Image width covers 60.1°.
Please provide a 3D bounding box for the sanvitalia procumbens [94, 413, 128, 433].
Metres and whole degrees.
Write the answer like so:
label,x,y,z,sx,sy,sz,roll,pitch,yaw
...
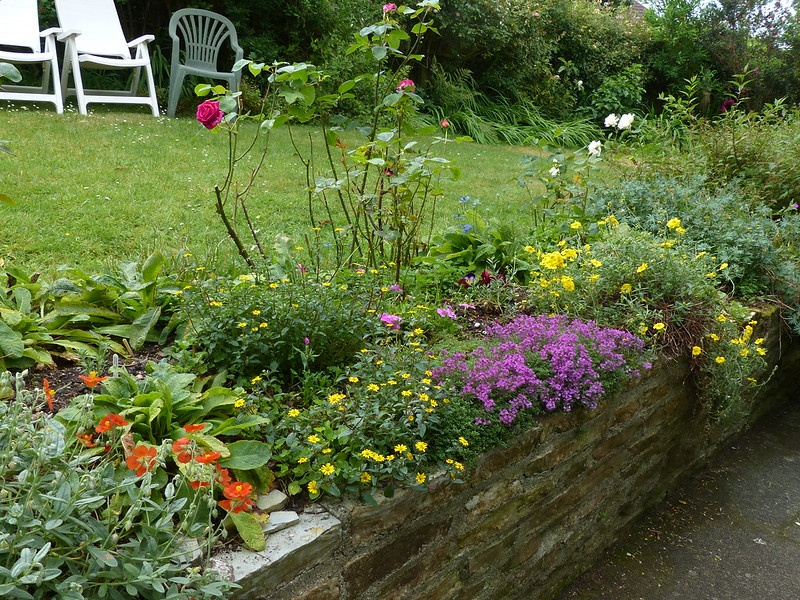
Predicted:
label,x,y,z,sx,sy,sz,roll,pitch,yaw
sanvitalia procumbens,-1.019,0.428,2.431,0.078,0.039,0.080,-2,13,0
